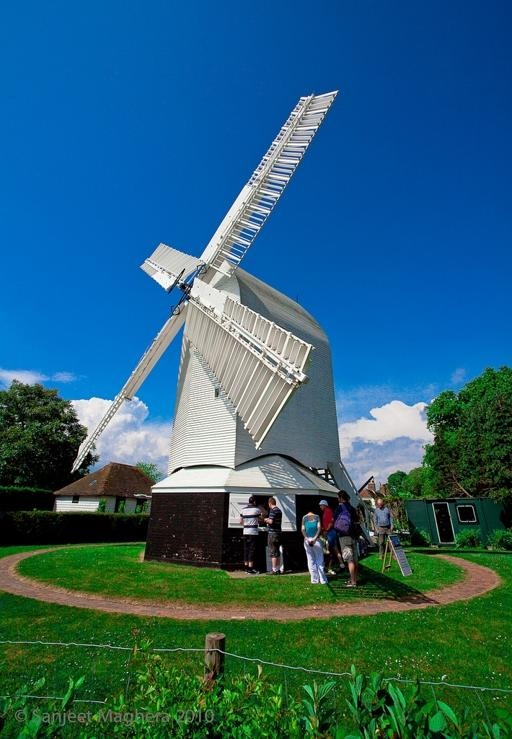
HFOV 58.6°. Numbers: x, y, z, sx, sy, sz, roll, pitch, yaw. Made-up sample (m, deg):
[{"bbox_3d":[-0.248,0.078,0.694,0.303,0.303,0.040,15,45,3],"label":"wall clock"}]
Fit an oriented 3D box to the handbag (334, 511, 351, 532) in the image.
[{"bbox_3d":[1.914,3.335,9.921,0.370,0.464,0.194,-16,-28,34],"label":"handbag"}]
